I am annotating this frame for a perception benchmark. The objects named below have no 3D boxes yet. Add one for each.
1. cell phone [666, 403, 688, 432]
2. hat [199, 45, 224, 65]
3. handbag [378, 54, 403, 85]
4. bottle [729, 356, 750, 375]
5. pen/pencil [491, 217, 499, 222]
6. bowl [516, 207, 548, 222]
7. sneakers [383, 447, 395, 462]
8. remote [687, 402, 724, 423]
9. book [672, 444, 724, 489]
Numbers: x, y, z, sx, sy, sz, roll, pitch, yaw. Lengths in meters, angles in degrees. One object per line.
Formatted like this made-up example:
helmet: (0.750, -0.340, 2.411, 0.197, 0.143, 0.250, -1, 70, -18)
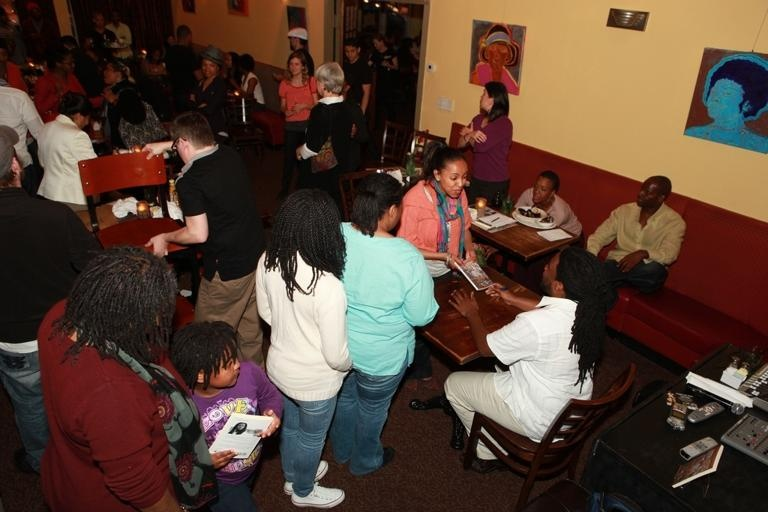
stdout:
cell phone: (1.920, 1.058, 3.387, 0.092, 0.081, 0.176, 14, 53, 45)
hat: (-2.191, -2.545, 6.532, 0.231, 0.098, 0.242, 25, 11, -49)
handbag: (0.143, -3.351, 9.258, 0.480, 0.633, 0.360, 5, 41, 5)
bottle: (2.518, 0.775, 3.658, 0.127, 0.043, 0.095, -15, 28, -24)
pen/pencil: (1.133, -0.378, 5.259, 0.023, 0.023, 0.181, 23, 31, 25)
bowl: (1.512, -0.438, 5.306, 0.177, 0.044, 0.180, 11, 20, -4)
sneakers: (0.036, 1.567, 4.119, 0.048, 0.094, 0.139, 29, 55, 25)
remote: (2.100, 1.002, 3.386, 0.325, 0.034, 0.107, -17, 33, -29)
book: (1.921, 1.306, 3.170, 0.330, 0.047, 0.246, -29, 6, -36)
